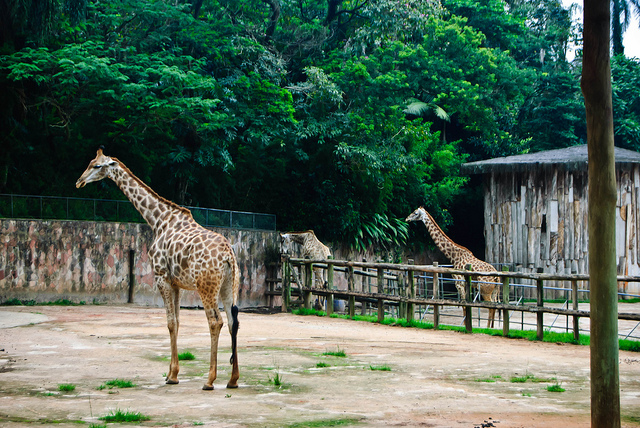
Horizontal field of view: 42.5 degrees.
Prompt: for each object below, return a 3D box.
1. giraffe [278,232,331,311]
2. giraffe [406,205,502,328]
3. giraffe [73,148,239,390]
[{"bbox_3d":[-0.564,1.612,29.062,0.610,1.805,2.727,21,-5,45],"label":"giraffe"},{"bbox_3d":[4.416,1.516,25.970,2.603,3.760,4.720,1,-4,-6],"label":"giraffe"},{"bbox_3d":[-3.261,1.157,18.105,2.981,4.679,4.737,2,-4,-11],"label":"giraffe"}]
